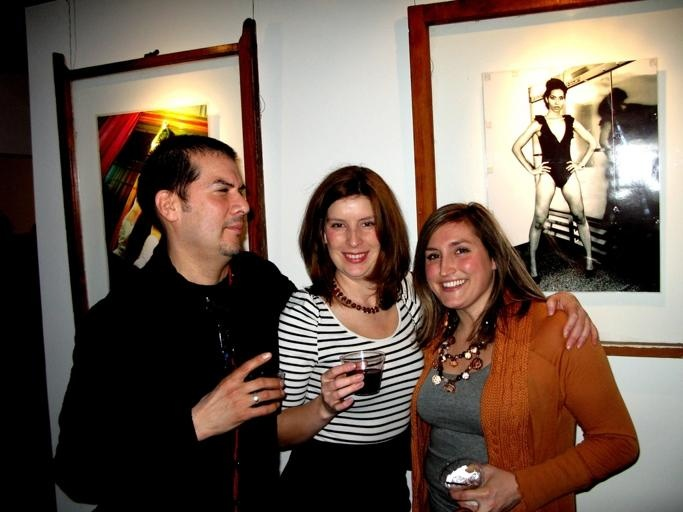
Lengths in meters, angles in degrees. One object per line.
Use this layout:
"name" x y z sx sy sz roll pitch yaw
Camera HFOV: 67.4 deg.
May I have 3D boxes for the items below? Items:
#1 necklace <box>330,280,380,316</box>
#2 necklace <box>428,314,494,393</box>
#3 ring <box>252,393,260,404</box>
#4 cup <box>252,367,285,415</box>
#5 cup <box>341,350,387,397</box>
"necklace" 0.086 0.229 2.720 0.202 0.043 0.163 14 17 -37
"necklace" 0.601 0.502 2.612 0.228 0.421 0.086 -1 -26 43
"ring" -0.386 0.638 2.308 0.036 0.053 0.019 -1 -10 -2
"cup" -0.327 0.619 2.447 0.136 0.185 0.311 -1 4 11
"cup" 0.113 0.542 2.455 0.196 0.175 0.211 -2 -7 0
